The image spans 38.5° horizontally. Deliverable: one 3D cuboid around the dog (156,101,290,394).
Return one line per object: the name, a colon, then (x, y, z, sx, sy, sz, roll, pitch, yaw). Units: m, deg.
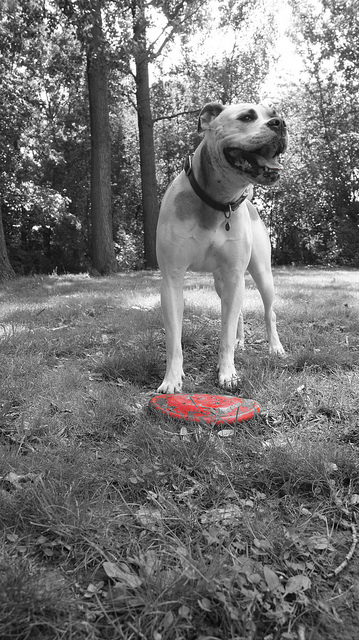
dog: (0.325, -0.461, 3.489, 0.746, 1.639, 2.395, 3, 5, 5)

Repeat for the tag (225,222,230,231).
tag: (0.281, -0.550, 3.000, 0.033, 0.050, 0.011, 4, -2, 7)

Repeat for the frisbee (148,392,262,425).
frisbee: (0.096, 0.406, 2.418, 0.523, 0.060, 0.365, 5, 10, 35)
